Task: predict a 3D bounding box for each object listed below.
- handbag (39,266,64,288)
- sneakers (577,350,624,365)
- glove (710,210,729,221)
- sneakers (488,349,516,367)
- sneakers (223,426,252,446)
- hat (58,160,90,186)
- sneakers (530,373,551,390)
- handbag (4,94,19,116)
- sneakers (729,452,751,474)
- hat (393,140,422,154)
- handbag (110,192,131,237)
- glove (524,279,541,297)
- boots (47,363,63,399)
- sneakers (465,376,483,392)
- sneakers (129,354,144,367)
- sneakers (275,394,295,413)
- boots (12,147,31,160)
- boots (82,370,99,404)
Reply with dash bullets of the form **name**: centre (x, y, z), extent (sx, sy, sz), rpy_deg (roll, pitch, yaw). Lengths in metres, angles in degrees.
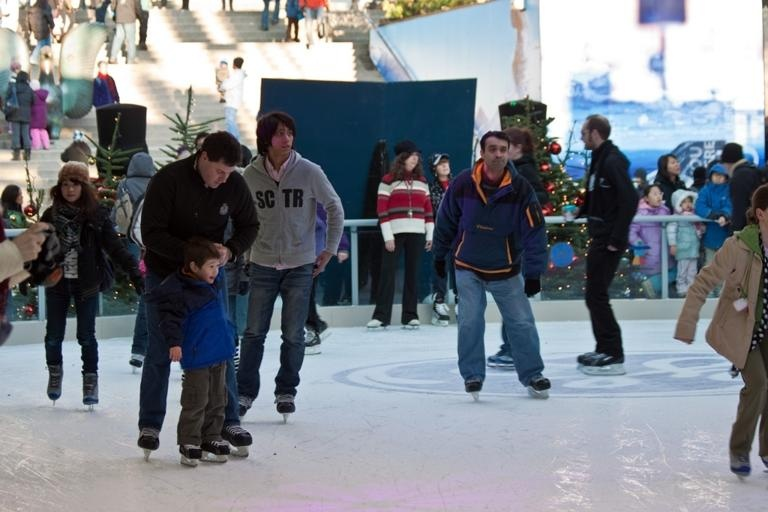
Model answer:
- **handbag**: centre (-3.145, 0.210, 7.675), extent (0.185, 0.206, 0.241), rpy_deg (-3, 6, -21)
- **sneakers**: centre (2.421, 1.165, 9.163), extent (0.353, 0.101, 0.211), rpy_deg (2, -3, -7)
- **glove**: centre (5.256, -0.601, 12.690), extent (0.331, 0.228, 0.123), rpy_deg (-1, 6, 2)
- **sneakers**: centre (1.411, 1.234, 9.618), extent (0.309, 0.195, 0.155), rpy_deg (2, -3, 8)
- **sneakers**: centre (-1.189, 1.461, 6.595), extent (0.311, 0.113, 0.115), rpy_deg (18, 18, 42)
- **hat**: centre (-2.985, -0.803, 7.799), extent (0.245, 0.167, 0.237), rpy_deg (2, -1, -23)
- **sneakers**: centre (1.554, 1.263, 8.033), extent (0.197, 0.144, 0.101), rpy_deg (4, 8, 43)
- **handbag**: centre (-8.476, -3.432, 18.510), extent (0.233, 0.445, 0.442), rpy_deg (-6, 7, -38)
- **sneakers**: centre (2.661, 1.555, 6.019), extent (0.141, 0.160, 0.091), rpy_deg (1, 6, 23)
- **hat**: centre (0.347, -1.638, 12.272), extent (0.312, 0.150, 0.236), rpy_deg (-13, -9, 23)
- **handbag**: centre (-3.063, -0.483, 9.373), extent (0.180, 0.452, 0.357), rpy_deg (14, 11, 42)
- **glove**: centre (1.498, 0.327, 8.155), extent (0.150, 0.210, 0.268), rpy_deg (0, 6, 10)
- **boots**: centre (-3.229, 1.230, 7.920), extent (0.139, 0.276, 0.416), rpy_deg (1, 17, -17)
- **sneakers**: centre (0.897, 1.277, 8.047), extent (0.131, 0.159, 0.077), rpy_deg (-2, -6, 9)
- **sneakers**: centre (-2.854, 1.227, 9.357), extent (0.145, 0.202, 0.253), rpy_deg (-3, 6, -16)
- **sneakers**: centre (-0.897, 1.368, 7.396), extent (0.158, 0.207, 0.197), rpy_deg (-2, 6, -12)
- **boots**: centre (-8.468, -2.369, 18.951), extent (0.385, 0.287, 0.439), rpy_deg (-4, 6, -25)
- **boots**: centre (-2.825, 1.290, 7.799), extent (0.129, 0.361, 0.171), rpy_deg (-4, 4, -16)
